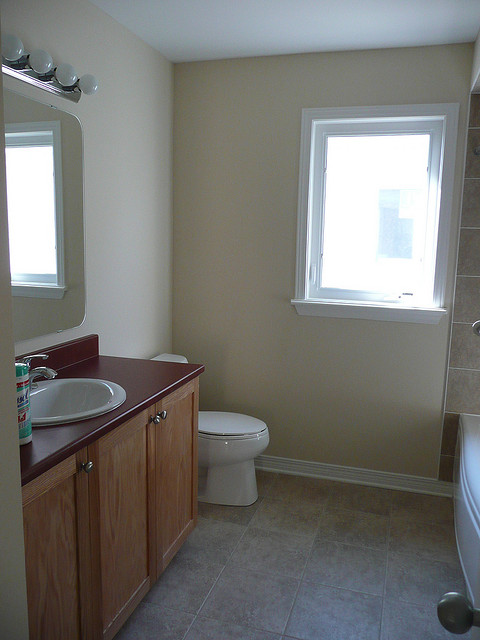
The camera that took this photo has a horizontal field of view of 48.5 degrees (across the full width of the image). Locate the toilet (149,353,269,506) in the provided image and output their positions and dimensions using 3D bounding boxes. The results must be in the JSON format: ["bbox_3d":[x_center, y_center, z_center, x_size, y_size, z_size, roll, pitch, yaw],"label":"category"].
[{"bbox_3d":[-0.005,0.612,2.968,0.779,0.864,0.470,1,7,10],"label":"toilet"}]
